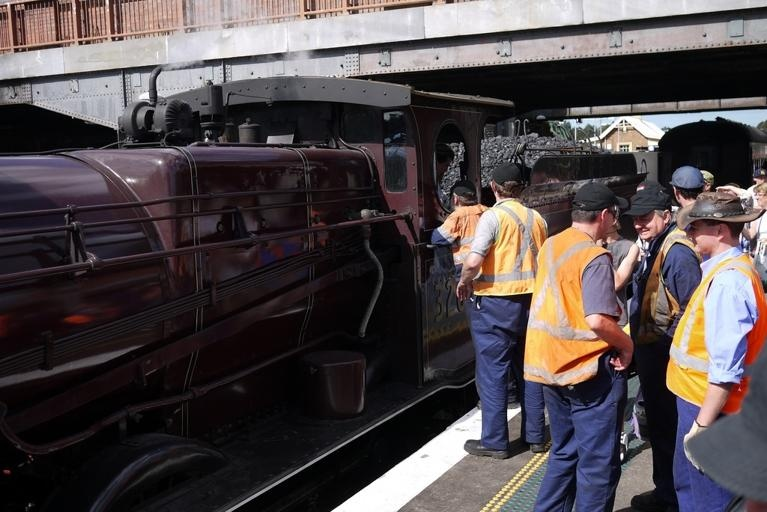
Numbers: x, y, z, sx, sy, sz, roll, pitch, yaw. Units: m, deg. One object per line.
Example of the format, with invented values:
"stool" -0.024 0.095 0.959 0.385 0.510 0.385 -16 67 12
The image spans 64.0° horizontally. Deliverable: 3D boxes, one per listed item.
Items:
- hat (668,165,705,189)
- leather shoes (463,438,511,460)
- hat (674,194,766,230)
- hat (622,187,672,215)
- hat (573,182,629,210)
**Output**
"hat" 2.580 -0.640 5.251 0.183 0.158 0.267 1 26 13
"leather shoes" 0.885 1.640 5.324 0.316 0.137 0.162 15 9 30
"hat" 2.066 -0.293 3.788 0.352 0.138 0.345 6 14 33
"hat" 2.093 -0.466 4.863 0.300 0.148 0.203 -15 13 -27
"hat" 1.523 -0.405 4.265 0.404 0.171 0.251 -6 11 -36
